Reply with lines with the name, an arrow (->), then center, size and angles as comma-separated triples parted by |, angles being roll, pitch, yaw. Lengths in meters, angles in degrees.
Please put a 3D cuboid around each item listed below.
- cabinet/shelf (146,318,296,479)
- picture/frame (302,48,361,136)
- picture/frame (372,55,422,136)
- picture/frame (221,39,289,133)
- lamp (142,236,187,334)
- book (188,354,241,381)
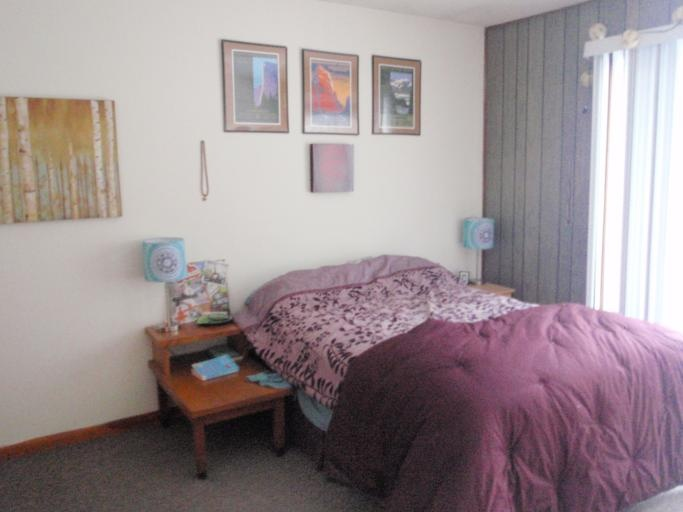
cabinet/shelf -> -0.815, 0.808, 3.431 | 0.746, 0.678, 1.020 | -5, 8, -36
picture/frame -> -0.105, -1.341, 4.121 | 0.660, 0.856, 0.054 | -7, 14, -29
picture/frame -> 0.458, -1.405, 4.407 | 0.670, 0.874, 0.061 | -5, 11, -30
picture/frame -> -0.676, -1.288, 3.829 | 0.678, 0.830, 0.057 | -5, 11, -29
lamp -> -1.213, 0.200, 3.575 | 0.280, 0.683, 0.284 | 5, 19, 7
book -> -0.833, 0.716, 3.409 | 0.210, 0.063, 0.159 | -8, 14, -40
